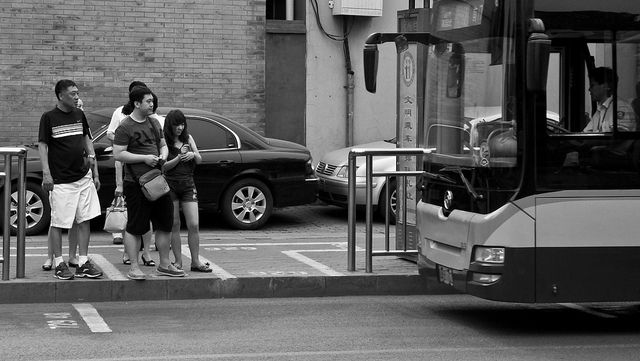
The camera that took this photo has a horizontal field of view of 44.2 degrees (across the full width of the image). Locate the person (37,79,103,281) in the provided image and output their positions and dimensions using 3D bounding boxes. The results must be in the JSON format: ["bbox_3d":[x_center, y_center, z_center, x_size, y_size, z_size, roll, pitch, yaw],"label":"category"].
[{"bbox_3d":[-3.776,-0.036,11.802,0.820,2.910,0.896,-3,8,-18],"label":"person"}]

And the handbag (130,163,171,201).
[{"bbox_3d":[-2.540,0.026,11.583,0.335,0.467,0.202,-38,18,-13],"label":"handbag"}]

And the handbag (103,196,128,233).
[{"bbox_3d":[-3.393,0.568,12.964,0.324,0.610,0.385,-4,8,-22],"label":"handbag"}]

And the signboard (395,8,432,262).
[{"bbox_3d":[1.518,-0.727,12.938,0.528,4.152,0.851,0,8,6],"label":"signboard"}]

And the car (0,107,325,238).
[{"bbox_3d":[-2.810,-0.216,16.807,6.379,2.030,2.515,-1,1,-18],"label":"car"}]
